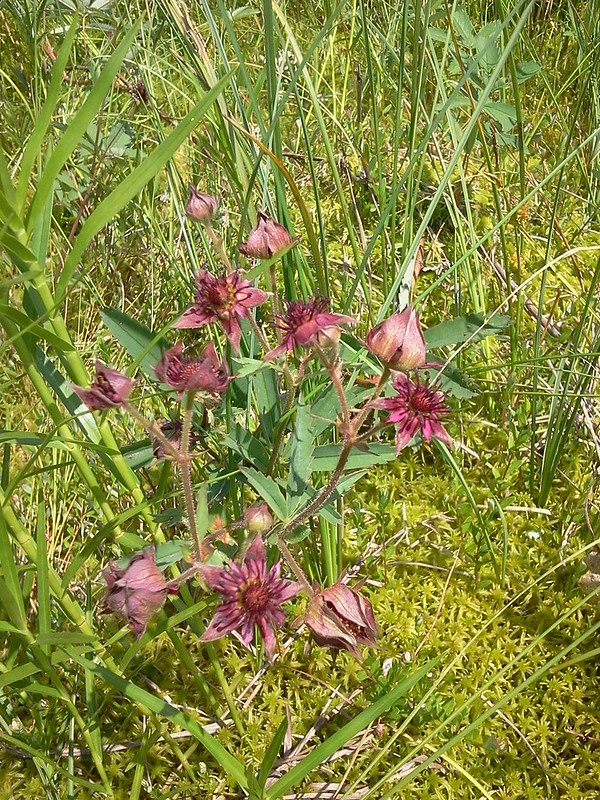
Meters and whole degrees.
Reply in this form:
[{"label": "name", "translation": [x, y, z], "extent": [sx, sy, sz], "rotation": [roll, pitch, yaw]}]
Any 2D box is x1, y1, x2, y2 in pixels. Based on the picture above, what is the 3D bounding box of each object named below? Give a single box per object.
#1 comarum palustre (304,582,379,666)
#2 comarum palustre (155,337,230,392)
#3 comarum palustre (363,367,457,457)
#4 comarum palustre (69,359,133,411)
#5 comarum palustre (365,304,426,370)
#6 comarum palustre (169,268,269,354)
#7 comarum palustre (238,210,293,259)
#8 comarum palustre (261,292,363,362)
[{"label": "comarum palustre", "translation": [0.073, 0.413, 1.372], "extent": [0.142, 0.062, 0.144], "rotation": [-3, 25, -42]}, {"label": "comarum palustre", "translation": [-0.204, -0.053, 1.291], "extent": [0.119, 0.133, 0.065], "rotation": [6, 65, -6]}, {"label": "comarum palustre", "translation": [0.189, 0.024, 1.246], "extent": [0.145, 0.051, 0.141], "rotation": [-32, 83, -15]}, {"label": "comarum palustre", "translation": [-0.301, -0.020, 1.053], "extent": [0.072, 0.045, 0.072], "rotation": [-46, 33, 4]}, {"label": "comarum palustre", "translation": [0.157, -0.109, 1.240], "extent": [0.107, 0.102, 0.099], "rotation": [9, 2, -14]}, {"label": "comarum palustre", "translation": [-0.166, -0.195, 1.361], "extent": [0.178, 0.090, 0.250], "rotation": [-26, 23, -1]}, {"label": "comarum palustre", "translation": [-0.073, -0.328, 1.408], "extent": [0.083, 0.105, 0.069], "rotation": [21, 51, 22]}, {"label": "comarum palustre", "translation": [-0.002, -0.142, 1.309], "extent": [0.159, 0.149, 0.075], "rotation": [3, 88, -17]}]
